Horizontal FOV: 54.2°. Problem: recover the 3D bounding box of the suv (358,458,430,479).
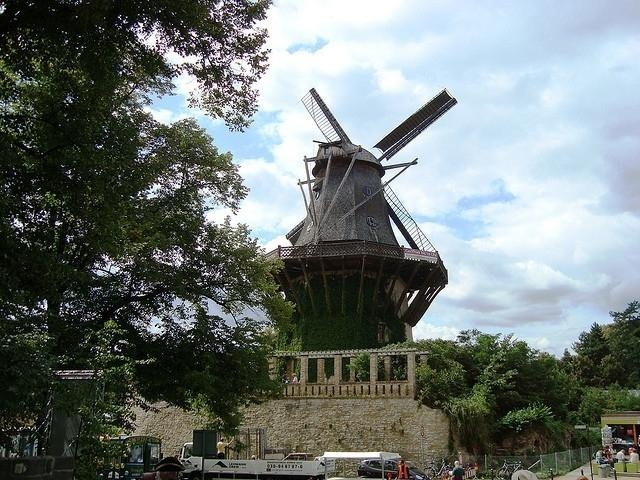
[{"bbox_3d":[2.774,9.875,26.168,2.282,0.972,1.251,-4,-18,17],"label":"suv"}]
